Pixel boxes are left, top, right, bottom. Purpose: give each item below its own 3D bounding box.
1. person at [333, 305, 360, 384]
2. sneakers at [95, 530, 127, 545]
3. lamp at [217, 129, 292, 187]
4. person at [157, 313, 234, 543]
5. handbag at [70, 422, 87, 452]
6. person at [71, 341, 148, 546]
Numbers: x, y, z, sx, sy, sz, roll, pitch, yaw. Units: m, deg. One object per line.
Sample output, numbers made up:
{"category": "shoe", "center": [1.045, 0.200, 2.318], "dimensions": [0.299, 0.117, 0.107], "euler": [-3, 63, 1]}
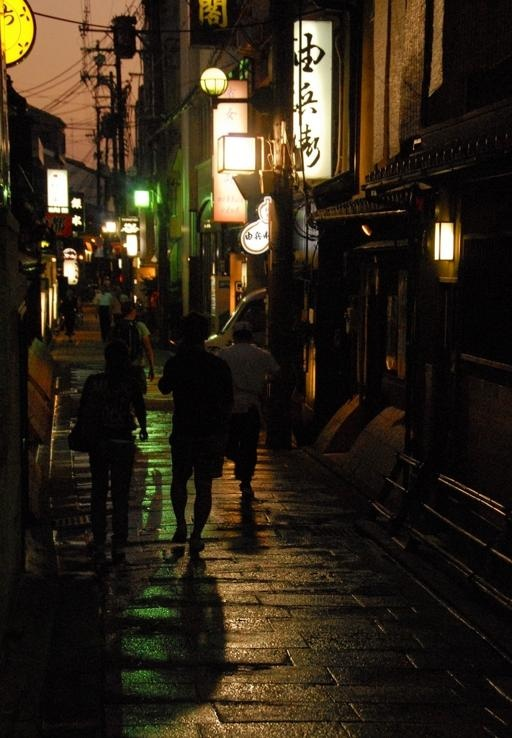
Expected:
{"category": "person", "center": [1.618, -0.499, 12.859], "dimensions": [0.214, 1.312, 0.296], "euler": [-3, 9, -13]}
{"category": "sneakers", "center": [-1.279, 1.481, 6.704], "dimensions": [0.151, 0.127, 0.251], "euler": [1, -8, -3]}
{"category": "lamp", "center": [0.038, -4.063, 14.714], "dimensions": [1.527, 1.230, 0.995], "euler": [-1, 3, -10]}
{"category": "person", "center": [-0.531, 0.555, 6.759], "dimensions": [0.623, 1.802, 0.471], "euler": [0, 0, 4]}
{"category": "handbag", "center": [-1.549, 0.595, 6.611], "dimensions": [0.147, 0.210, 0.274], "euler": [0, 0, -22]}
{"category": "person", "center": [-1.294, 0.662, 6.616], "dimensions": [0.606, 1.493, 0.304], "euler": [0, 0, -16]}
